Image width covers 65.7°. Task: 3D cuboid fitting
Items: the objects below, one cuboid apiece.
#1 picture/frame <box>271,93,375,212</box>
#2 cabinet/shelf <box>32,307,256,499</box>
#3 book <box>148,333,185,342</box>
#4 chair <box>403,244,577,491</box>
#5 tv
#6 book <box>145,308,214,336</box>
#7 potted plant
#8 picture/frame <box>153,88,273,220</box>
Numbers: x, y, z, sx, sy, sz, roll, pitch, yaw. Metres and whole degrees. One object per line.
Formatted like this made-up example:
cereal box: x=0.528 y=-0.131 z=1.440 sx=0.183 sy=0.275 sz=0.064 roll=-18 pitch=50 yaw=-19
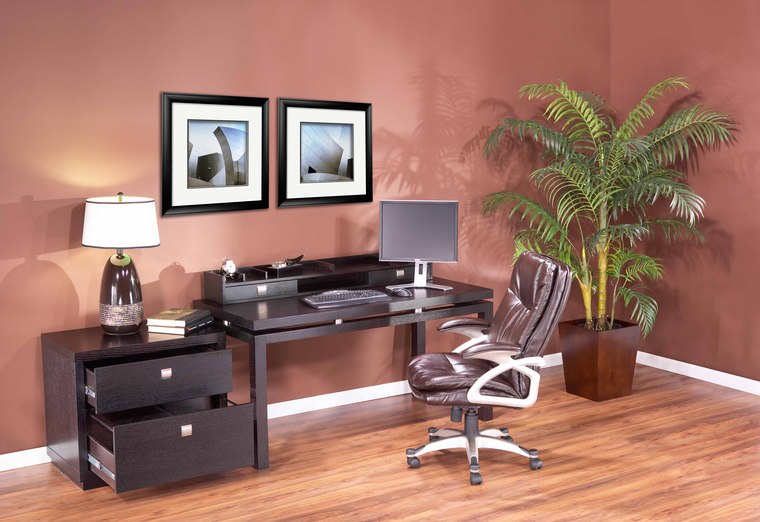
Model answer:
picture/frame: x=-0.476 y=-0.858 z=4.593 sx=1.014 sy=0.962 sz=0.075 roll=-1 pitch=3 yaw=-29
cabinet/shelf: x=-1.532 y=0.811 z=3.869 sx=1.000 sy=0.934 sz=1.136 roll=-2 pitch=2 yaw=-35
book: x=-1.352 y=0.480 z=3.694 sx=0.096 sy=0.022 sz=0.094 roll=-3 pitch=6 yaw=-44
chair: x=0.671 y=0.684 z=3.983 sx=1.058 sy=1.322 sz=0.872 roll=-3 pitch=5 yaw=-6
tv: x=0.322 y=-0.124 z=4.598 sx=0.637 sy=0.676 sz=0.233 roll=2 pitch=4 yaw=20
book: x=-1.275 y=0.387 z=3.817 sx=0.227 sy=0.051 sz=0.229 roll=5 pitch=12 yaw=28
potted plant: x=1.924 y=-0.173 z=5.439 sx=1.813 sy=2.782 sz=2.244 roll=8 pitch=-7 yaw=-35
picture/frame: x=-1.230 y=-0.781 z=4.226 sx=1.053 sy=1.080 sz=0.080 roll=-1 pitch=4 yaw=-29
